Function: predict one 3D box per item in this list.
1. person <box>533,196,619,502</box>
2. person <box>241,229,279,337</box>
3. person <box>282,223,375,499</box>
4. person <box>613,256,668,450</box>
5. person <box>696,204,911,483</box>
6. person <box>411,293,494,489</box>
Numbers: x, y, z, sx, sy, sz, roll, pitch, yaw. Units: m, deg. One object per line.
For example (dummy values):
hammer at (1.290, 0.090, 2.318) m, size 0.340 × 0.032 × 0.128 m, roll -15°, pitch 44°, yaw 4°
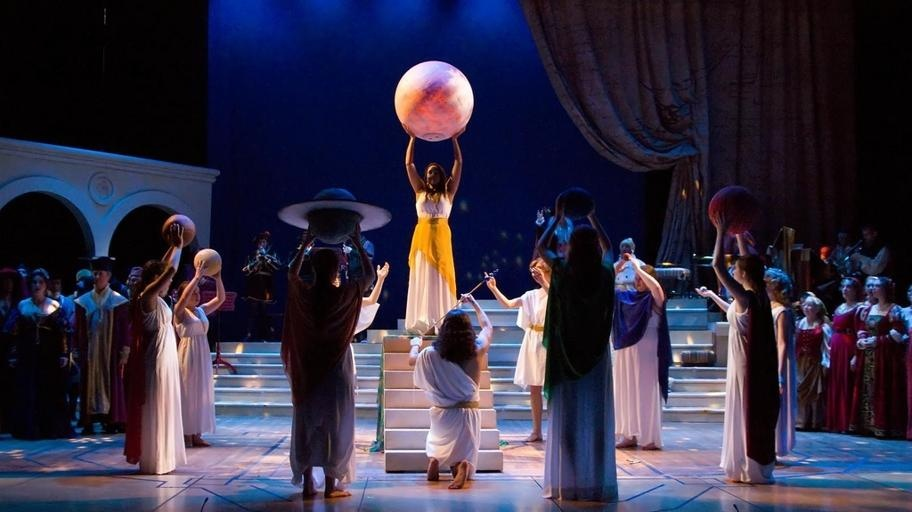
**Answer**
person at (1.569, 1.131, 9.864) m, size 1.005 × 3.810 × 0.971 m, roll 1°, pitch 12°, yaw 5°
person at (-4.001, 0.618, 16.019) m, size 0.730 × 2.305 × 1.179 m, roll -3°, pitch 12°, yaw -15°
person at (-1.659, 1.351, 9.915) m, size 1.100 × 3.359 × 0.873 m, roll -3°, pitch 12°, yaw -13°
person at (2.800, 1.512, 11.707) m, size 0.851 × 2.706 × 0.823 m, roll 2°, pitch 12°, yaw 11°
person at (3.971, 1.133, 10.429) m, size 1.043 × 3.646 × 1.178 m, roll 6°, pitch 13°, yaw 25°
person at (-0.009, 1.848, 10.245) m, size 0.997 × 2.245 × 0.783 m, roll -2°, pitch 12°, yaw -11°
